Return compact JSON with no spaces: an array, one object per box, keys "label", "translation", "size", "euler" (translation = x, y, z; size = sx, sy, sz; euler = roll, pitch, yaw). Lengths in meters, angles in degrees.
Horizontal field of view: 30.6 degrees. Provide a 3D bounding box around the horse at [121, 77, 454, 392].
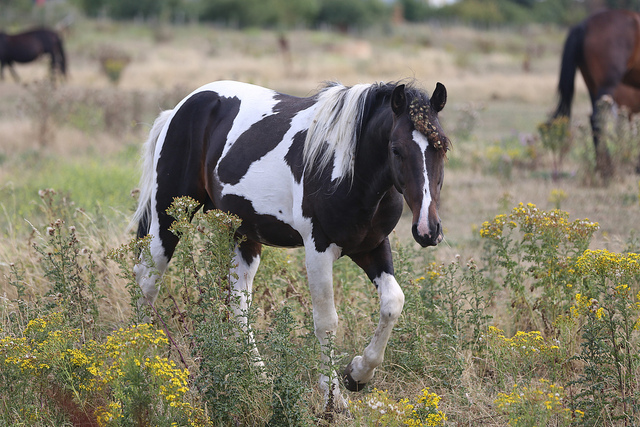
[{"label":"horse","translation":[-0.422,0.224,16.831],"size":[1.772,4.876,6.942],"euler":[-5,12,-39]}]
